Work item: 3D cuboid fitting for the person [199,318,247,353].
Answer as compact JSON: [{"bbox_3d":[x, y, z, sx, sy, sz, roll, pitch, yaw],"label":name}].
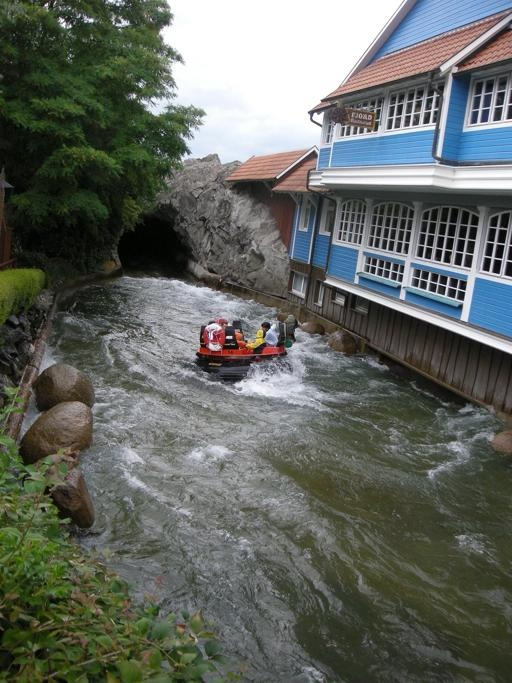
[{"bbox_3d":[-0.956,-0.103,14.119,0.844,0.599,1.229,1,22,-1],"label":"person"}]
